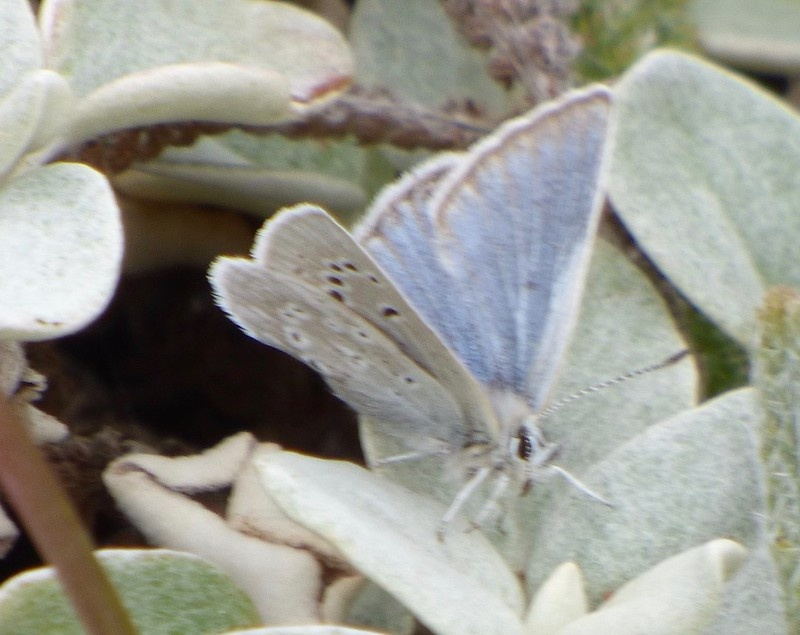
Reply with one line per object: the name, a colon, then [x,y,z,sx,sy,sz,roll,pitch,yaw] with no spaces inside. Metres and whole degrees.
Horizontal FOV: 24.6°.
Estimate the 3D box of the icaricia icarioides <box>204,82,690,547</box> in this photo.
icaricia icarioides: [0.034,-0.012,1.089,0.270,0.271,0.197,27,79,11]
